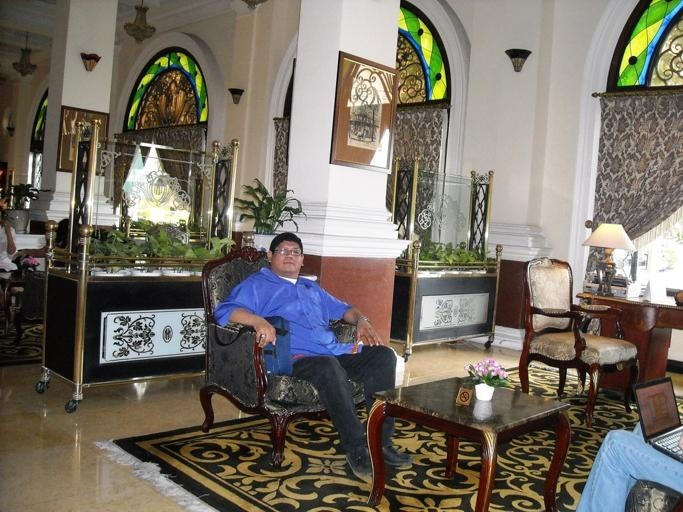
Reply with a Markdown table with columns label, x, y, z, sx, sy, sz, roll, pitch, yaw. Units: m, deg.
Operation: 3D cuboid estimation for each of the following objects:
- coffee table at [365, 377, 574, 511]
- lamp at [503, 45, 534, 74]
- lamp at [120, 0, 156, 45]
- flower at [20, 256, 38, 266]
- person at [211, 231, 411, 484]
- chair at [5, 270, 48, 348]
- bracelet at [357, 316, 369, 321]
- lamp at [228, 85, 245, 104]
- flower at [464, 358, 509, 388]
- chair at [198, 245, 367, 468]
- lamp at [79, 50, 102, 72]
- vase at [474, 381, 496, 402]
| label | x | y | z | sx | sy | sz | roll | pitch | yaw |
| --- | --- | --- | --- | --- | --- | --- | --- | --- | --- |
| coffee table | 0.678 | 1.003 | 2.560 | 0.932 | 0.507 | 0.712 | 2 | 3 | -41 |
| lamp | 2.353 | -2.600 | 6.433 | 0.320 | 0.262 | 0.229 | 4 | 2 | 19 |
| lamp | -3.110 | -3.668 | 7.476 | 0.376 | 0.596 | 0.485 | 2 | 3 | -32 |
| flower | -3.202 | 0.055 | 4.997 | 0.139 | 0.065 | 0.140 | 8 | 9 | 22 |
| person | -0.419 | 0.609 | 3.311 | 0.935 | 1.214 | 0.973 | 3 | 2 | -39 |
| chair | -3.223 | 0.505 | 4.928 | 0.319 | 0.776 | 1.542 | 2 | 3 | -32 |
| bracelet | 0.145 | 0.428 | 3.275 | 0.068 | 0.033 | 0.073 | 15 | -9 | -32 |
| lamp | -1.869 | -2.869 | 8.633 | 0.262 | 0.222 | 0.288 | 0 | -1 | 3 |
| flower | 0.780 | 0.621 | 2.612 | 0.185 | 0.137 | 0.190 | 4 | -3 | -5 |
| chair | -0.300 | 0.555 | 3.592 | 1.109 | 1.543 | 1.138 | 1 | 1 | 40 |
| lamp | -3.452 | -2.683 | 6.676 | 0.239 | 0.249 | 0.248 | -2 | 5 | -17 |
| vase | 0.760 | 0.719 | 2.551 | 0.097 | 0.078 | 0.093 | 4 | -4 | -35 |
